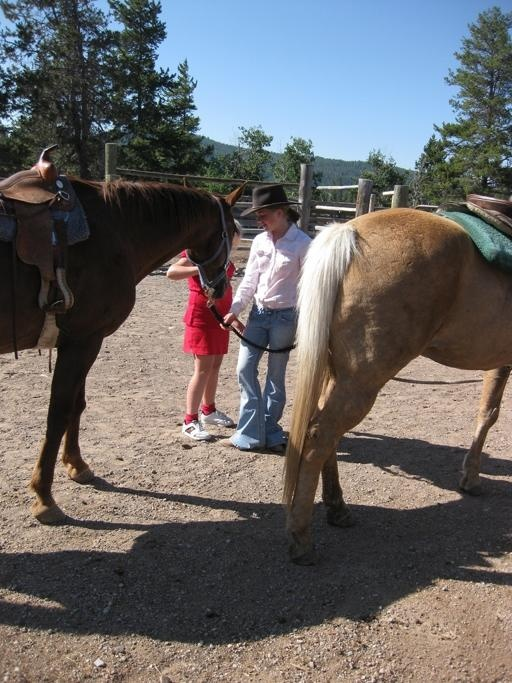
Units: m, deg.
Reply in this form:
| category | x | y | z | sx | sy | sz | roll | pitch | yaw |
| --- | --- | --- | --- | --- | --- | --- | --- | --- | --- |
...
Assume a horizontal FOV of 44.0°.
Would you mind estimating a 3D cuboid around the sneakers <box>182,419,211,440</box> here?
| category | x | y | z | sx | sy | sz | roll | pitch | yaw |
| --- | --- | --- | --- | --- | --- | --- | --- | --- | --- |
| sneakers | -0.401 | 0.593 | 4.224 | 0.224 | 0.086 | 0.094 | 8 | 7 | 44 |

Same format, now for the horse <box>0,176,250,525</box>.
| category | x | y | z | sx | sy | sz | roll | pitch | yaw |
| --- | --- | --- | --- | --- | --- | --- | --- | --- | --- |
| horse | -0.746 | 0.007 | 3.228 | 0.422 | 1.611 | 1.284 | 14 | 18 | 33 |

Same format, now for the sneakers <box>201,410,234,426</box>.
| category | x | y | z | sx | sy | sz | roll | pitch | yaw |
| --- | --- | --- | --- | --- | --- | --- | --- | --- | --- |
| sneakers | -0.262 | 0.546 | 4.502 | 0.234 | 0.085 | 0.101 | 2 | 14 | 1 |

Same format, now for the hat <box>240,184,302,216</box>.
| category | x | y | z | sx | sy | sz | roll | pitch | yaw |
| --- | --- | --- | --- | --- | --- | --- | --- | --- | --- |
| hat | 0.084 | -0.842 | 3.785 | 0.284 | 0.114 | 0.298 | -10 | 13 | 3 |
